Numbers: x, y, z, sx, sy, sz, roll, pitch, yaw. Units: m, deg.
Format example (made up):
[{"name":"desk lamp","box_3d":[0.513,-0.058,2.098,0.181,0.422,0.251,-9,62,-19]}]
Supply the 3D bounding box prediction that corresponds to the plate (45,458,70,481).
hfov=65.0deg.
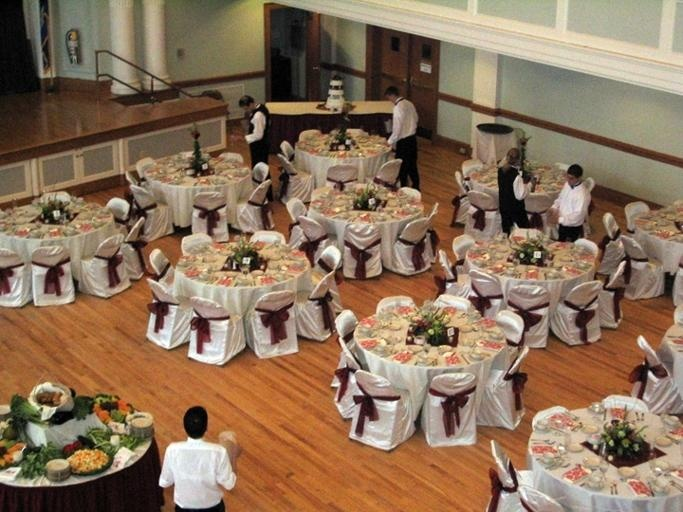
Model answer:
[{"name":"plate","box_3d":[-2.143,1.589,4.057,0.137,0.083,0.139,0,26,-4]}]

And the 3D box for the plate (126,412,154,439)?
[{"name":"plate","box_3d":[-1.696,1.427,4.555,0.179,0.110,0.181,3,23,-2]}]

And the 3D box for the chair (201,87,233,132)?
[{"name":"chair","box_3d":[-3.701,-4.420,15.794,0.810,0.959,0.487,-24,37,-36]}]

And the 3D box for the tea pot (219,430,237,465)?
[{"name":"tea pot","box_3d":[-0.861,1.487,4.188,0.131,0.225,0.115,-22,3,-32]}]
